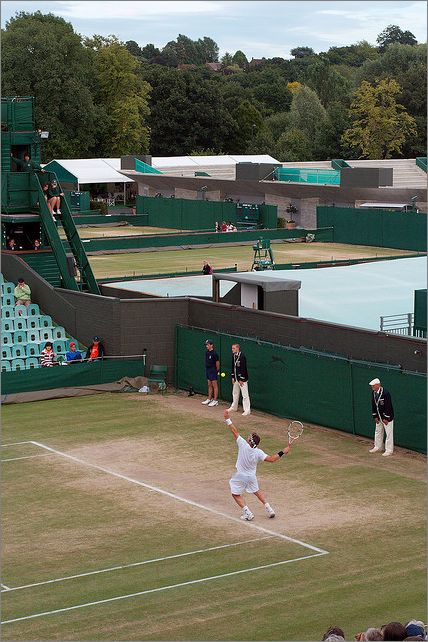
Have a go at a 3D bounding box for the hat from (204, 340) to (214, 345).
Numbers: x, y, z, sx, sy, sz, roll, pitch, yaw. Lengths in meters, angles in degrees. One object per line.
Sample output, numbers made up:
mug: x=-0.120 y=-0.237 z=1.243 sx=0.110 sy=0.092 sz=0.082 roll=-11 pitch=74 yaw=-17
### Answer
hat: x=-0.095 y=0.525 z=22.281 sx=0.167 sy=0.085 sz=0.121 roll=4 pitch=-5 yaw=-31

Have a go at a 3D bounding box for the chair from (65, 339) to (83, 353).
chair: x=-4.051 y=0.733 z=27.067 sx=0.459 sy=0.347 sz=0.450 roll=0 pitch=0 yaw=-32

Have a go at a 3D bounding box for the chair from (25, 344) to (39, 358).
chair: x=-5.090 y=0.843 z=25.893 sx=0.415 sy=0.399 sz=0.335 roll=2 pitch=-2 yaw=-28

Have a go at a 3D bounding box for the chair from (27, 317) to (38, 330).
chair: x=-5.412 y=0.039 z=27.379 sx=0.276 sy=0.332 sz=0.567 roll=1 pitch=4 yaw=8

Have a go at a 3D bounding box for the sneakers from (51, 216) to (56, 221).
sneakers: x=-5.479 y=-3.480 z=31.515 sx=0.138 sy=0.178 sz=0.066 roll=4 pitch=-10 yaw=-37

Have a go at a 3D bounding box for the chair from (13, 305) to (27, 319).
chair: x=-5.816 y=-0.277 z=27.815 sx=0.449 sy=0.432 sz=0.371 roll=2 pitch=1 yaw=-41

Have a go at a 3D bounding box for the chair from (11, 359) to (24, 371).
chair: x=-5.357 y=1.221 z=25.184 sx=0.408 sy=0.342 sz=0.395 roll=-2 pitch=8 yaw=-25

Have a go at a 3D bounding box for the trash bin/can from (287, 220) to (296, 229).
trash bin/can: x=5.700 y=-7.017 z=67.381 sx=0.634 sy=0.451 sz=0.646 roll=1 pitch=2 yaw=33

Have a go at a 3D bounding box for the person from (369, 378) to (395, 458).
person: x=3.307 y=1.901 z=18.132 sx=0.447 sy=1.617 sz=1.162 roll=1 pitch=4 yaw=10

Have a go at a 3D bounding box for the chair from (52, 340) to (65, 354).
chair: x=-4.449 y=0.765 z=26.883 sx=0.381 sy=0.424 sz=0.381 roll=2 pitch=-2 yaw=-32

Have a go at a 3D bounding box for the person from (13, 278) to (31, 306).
person: x=-5.972 y=-0.844 z=28.494 sx=0.473 sy=0.882 sz=0.625 roll=-1 pitch=4 yaw=-14

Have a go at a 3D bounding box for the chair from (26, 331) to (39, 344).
chair: x=-5.225 y=0.479 z=26.629 sx=0.398 sy=0.385 sz=0.333 roll=1 pitch=1 yaw=-27

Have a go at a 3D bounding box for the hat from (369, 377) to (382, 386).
hat: x=3.076 y=1.178 z=17.582 sx=0.195 sy=0.083 sz=0.144 roll=-10 pitch=9 yaw=5

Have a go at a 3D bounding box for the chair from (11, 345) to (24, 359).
chair: x=-5.481 y=0.869 z=25.692 sx=0.410 sy=0.396 sz=0.330 roll=2 pitch=-2 yaw=-26

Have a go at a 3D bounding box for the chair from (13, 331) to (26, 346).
chair: x=-5.641 y=0.529 z=26.519 sx=0.405 sy=0.388 sz=0.325 roll=2 pitch=0 yaw=-33

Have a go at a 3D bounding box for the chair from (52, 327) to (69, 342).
chair: x=-4.549 y=0.389 z=27.250 sx=0.413 sy=0.400 sz=0.359 roll=1 pitch=1 yaw=-24

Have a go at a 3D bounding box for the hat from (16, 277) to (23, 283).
hat: x=-6.019 y=-1.247 z=28.580 sx=0.136 sy=0.155 sz=0.168 roll=-1 pitch=9 yaw=-9

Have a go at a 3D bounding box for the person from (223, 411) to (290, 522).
person: x=0.589 y=2.197 z=13.957 sx=0.826 sy=1.770 sz=1.313 roll=0 pitch=4 yaw=1

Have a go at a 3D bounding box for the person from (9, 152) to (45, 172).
person: x=-6.742 y=-5.617 z=32.810 sx=0.803 sy=0.827 sz=2.116 roll=-3 pitch=5 yaw=-32

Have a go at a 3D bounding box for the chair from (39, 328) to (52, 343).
chair: x=-4.933 y=0.454 z=27.058 sx=0.442 sy=0.443 sz=0.372 roll=2 pitch=-3 yaw=-26

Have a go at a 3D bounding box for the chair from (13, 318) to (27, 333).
chair: x=-5.735 y=0.137 z=27.008 sx=0.402 sy=0.374 sz=0.287 roll=0 pitch=-1 yaw=-33

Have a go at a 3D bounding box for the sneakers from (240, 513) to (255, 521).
sneakers: x=0.516 y=2.990 z=14.092 sx=0.090 sy=0.121 sz=0.249 roll=-11 pitch=10 yaw=-34

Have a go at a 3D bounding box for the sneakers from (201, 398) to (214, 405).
sneakers: x=-0.178 y=2.050 z=23.194 sx=0.291 sy=0.130 sz=0.114 roll=0 pitch=-3 yaw=29

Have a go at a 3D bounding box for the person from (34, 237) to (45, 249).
person: x=-6.069 y=-2.676 z=32.009 sx=0.436 sy=0.385 sz=1.122 roll=-1 pitch=4 yaw=-10

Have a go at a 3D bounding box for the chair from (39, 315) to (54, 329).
chair: x=-5.148 y=0.053 z=27.984 sx=0.426 sy=0.312 sz=0.356 roll=-1 pitch=3 yaw=-35

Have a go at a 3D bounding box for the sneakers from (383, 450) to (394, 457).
sneakers: x=3.460 y=2.646 z=18.300 sx=0.197 sy=0.130 sz=0.084 roll=2 pitch=20 yaw=-3

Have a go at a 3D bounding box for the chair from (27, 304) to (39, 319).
chair: x=-5.612 y=-0.297 z=28.576 sx=0.481 sy=0.457 sz=0.388 roll=0 pitch=10 yaw=-30

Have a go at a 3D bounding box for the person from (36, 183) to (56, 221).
person: x=-5.700 y=-4.044 z=31.634 sx=0.440 sy=1.370 sz=0.851 roll=-1 pitch=4 yaw=-10

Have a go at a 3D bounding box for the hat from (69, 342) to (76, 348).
hat: x=-3.862 y=0.652 z=25.086 sx=0.137 sy=0.091 sz=0.176 roll=1 pitch=-5 yaw=-8

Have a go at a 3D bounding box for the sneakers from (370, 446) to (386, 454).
sneakers: x=3.298 y=2.614 z=18.615 sx=0.296 sy=0.196 sz=0.108 roll=1 pitch=4 yaw=11
